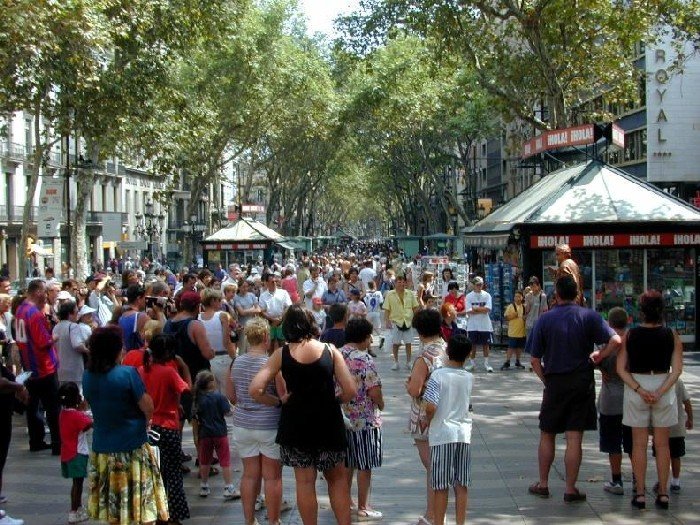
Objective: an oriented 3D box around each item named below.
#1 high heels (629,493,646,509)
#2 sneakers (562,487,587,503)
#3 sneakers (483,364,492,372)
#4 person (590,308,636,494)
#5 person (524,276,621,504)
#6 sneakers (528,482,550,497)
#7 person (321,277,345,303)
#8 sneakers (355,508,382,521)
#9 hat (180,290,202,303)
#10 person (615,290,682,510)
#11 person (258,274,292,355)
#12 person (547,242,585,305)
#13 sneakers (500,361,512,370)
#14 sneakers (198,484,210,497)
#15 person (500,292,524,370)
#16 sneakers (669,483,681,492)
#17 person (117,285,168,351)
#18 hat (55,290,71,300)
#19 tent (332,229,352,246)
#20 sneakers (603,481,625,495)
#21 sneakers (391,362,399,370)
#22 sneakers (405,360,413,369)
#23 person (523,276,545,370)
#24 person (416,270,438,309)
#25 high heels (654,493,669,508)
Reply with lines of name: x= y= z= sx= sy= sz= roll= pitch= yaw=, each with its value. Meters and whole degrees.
high heels: x=3.734 y=3.074 z=12.782 sx=0.199 sy=0.197 sz=0.171 roll=-2 pitch=-4 yaw=6
sneakers: x=2.921 y=3.029 z=12.851 sx=0.293 sy=0.135 sz=0.125 roll=-5 pitch=4 yaw=-32
sneakers: x=2.927 y=2.245 z=21.044 sx=0.110 sy=0.144 sz=0.349 roll=-2 pitch=-6 yaw=0
person: x=3.615 y=1.870 z=13.322 sx=0.659 sy=2.505 sz=0.734 roll=-2 pitch=-8 yaw=30
person: x=2.872 y=1.641 z=12.957 sx=1.075 sy=2.950 sz=0.351 roll=-2 pitch=-3 yaw=9
sneakers: x=2.494 y=3.021 z=13.111 sx=0.121 sy=0.138 sz=0.290 roll=-3 pitch=7 yaw=-16
person: x=-0.369 y=0.605 z=21.758 sx=0.532 sy=0.661 sz=1.051 roll=-1 pitch=-4 yaw=-2
sneakers: x=0.243 y=3.243 z=12.707 sx=0.244 sy=0.110 sz=0.144 roll=-3 pitch=2 yaw=-11
hat: x=-2.323 y=0.477 z=14.272 sx=0.293 sy=0.187 sz=0.369 roll=-1 pitch=-4 yaw=-5
person: x=3.899 y=1.765 z=12.836 sx=0.809 sy=2.823 sz=0.366 roll=-2 pitch=-4 yaw=15
person: x=-1.449 y=1.124 z=19.675 sx=0.739 sy=1.971 sz=0.551 roll=-4 pitch=22 yaw=0
person: x=3.234 y=0.366 z=14.804 sx=0.453 sy=1.305 sz=0.549 roll=3 pitch=-6 yaw=22
sneakers: x=3.395 y=2.211 z=21.333 sx=0.302 sy=0.230 sz=0.118 roll=2 pitch=4 yaw=3
sneakers: x=-1.996 y=3.103 z=13.430 sx=0.083 sy=0.109 sz=0.242 roll=1 pitch=6 yaw=0
person: x=3.505 y=1.439 z=21.227 sx=0.528 sy=1.676 sz=0.596 roll=-2 pitch=-4 yaw=9
sneakers: x=4.342 y=3.013 z=13.202 sx=0.127 sy=0.144 sz=0.083 roll=-2 pitch=3 yaw=-2
person: x=-3.193 y=0.952 z=15.181 sx=0.754 sy=1.358 sz=0.585 roll=-5 pitch=21 yaw=-25
hat: x=-5.226 y=0.600 z=18.088 sx=0.256 sy=0.080 sz=0.269 roll=3 pitch=6 yaw=37
tent: x=-1.132 y=-3.123 z=124.154 sx=2.973 sy=1.688 sz=4.742 roll=0 pitch=-3 yaw=1
sneakers: x=3.516 y=3.012 z=13.217 sx=0.107 sy=0.129 sz=0.307 roll=-1 pitch=5 yaw=-2
sneakers: x=0.971 y=2.233 z=21.315 sx=0.115 sy=0.235 sz=0.332 roll=0 pitch=-6 yaw=8
sneakers: x=1.278 y=2.224 z=21.326 sx=0.113 sy=0.161 sz=0.159 roll=2 pitch=-7 yaw=-8
person: x=3.887 y=1.303 z=20.481 sx=0.551 sy=2.170 sz=0.571 roll=-1 pitch=-25 yaw=7
person: x=1.762 y=0.624 z=22.401 sx=0.338 sy=1.165 sz=0.422 roll=-4 pitch=26 yaw=3
high heels: x=4.042 y=3.075 z=12.805 sx=0.155 sy=0.199 sz=0.224 roll=-3 pitch=-4 yaw=18
